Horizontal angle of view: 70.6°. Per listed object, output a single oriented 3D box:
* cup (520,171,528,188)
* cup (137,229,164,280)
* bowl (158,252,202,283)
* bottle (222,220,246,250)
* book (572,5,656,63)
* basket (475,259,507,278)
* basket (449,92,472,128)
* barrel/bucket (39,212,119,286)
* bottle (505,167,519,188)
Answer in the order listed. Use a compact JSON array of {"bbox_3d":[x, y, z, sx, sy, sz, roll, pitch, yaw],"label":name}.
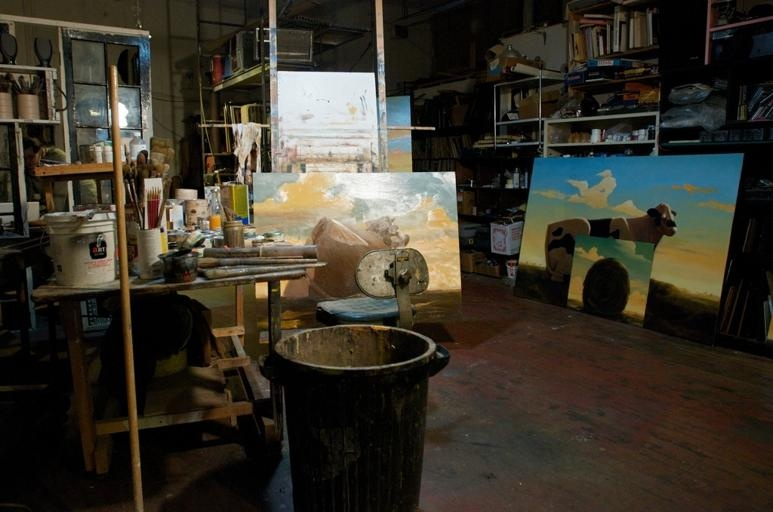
[{"bbox_3d":[1.896,-1.037,7.500,0.120,0.210,0.099,0,12,9],"label":"cup"},{"bbox_3d":[-1.472,-0.017,3.395,0.150,0.305,0.121,-7,13,-25],"label":"cup"},{"bbox_3d":[-1.245,0.068,3.289,0.205,0.134,0.179,-4,8,-14],"label":"bowl"},{"bbox_3d":[-1.112,-0.161,3.972,0.149,0.186,0.221,-5,13,-16],"label":"bottle"},{"bbox_3d":[2.769,-2.736,6.657,0.328,0.651,1.149,-8,14,-29],"label":"book"},{"bbox_3d":[1.463,0.157,7.719,0.475,0.230,0.174,10,17,44],"label":"basket"},{"bbox_3d":[1.203,-2.341,8.848,0.294,0.515,0.418,0,12,8],"label":"basket"},{"bbox_3d":[-1.796,-0.058,3.266,0.452,0.413,0.441,0,5,0],"label":"barrel/bucket"},{"bbox_3d":[1.765,-1.074,7.644,0.196,0.262,0.265,1,12,12],"label":"bottle"}]
